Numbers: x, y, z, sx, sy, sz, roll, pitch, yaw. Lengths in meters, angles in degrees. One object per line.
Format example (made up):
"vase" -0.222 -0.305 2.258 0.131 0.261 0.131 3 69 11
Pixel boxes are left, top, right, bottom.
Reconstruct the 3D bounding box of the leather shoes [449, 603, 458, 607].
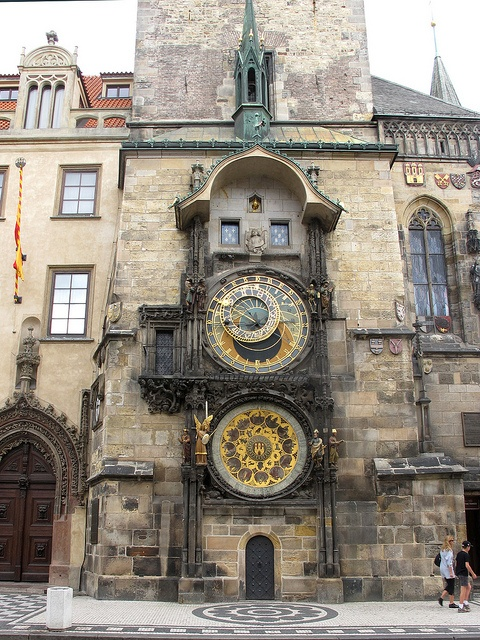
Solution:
"leather shoes" 3.979 5.326 14.191 0.195 0.073 0.061 8 -29 -17

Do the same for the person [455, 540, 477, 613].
"person" 4.138 4.702 14.029 0.397 1.280 1.566 -8 -22 13

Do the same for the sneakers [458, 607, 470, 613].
"sneakers" 4.014 5.198 13.663 0.243 0.100 0.084 0 -7 -7
